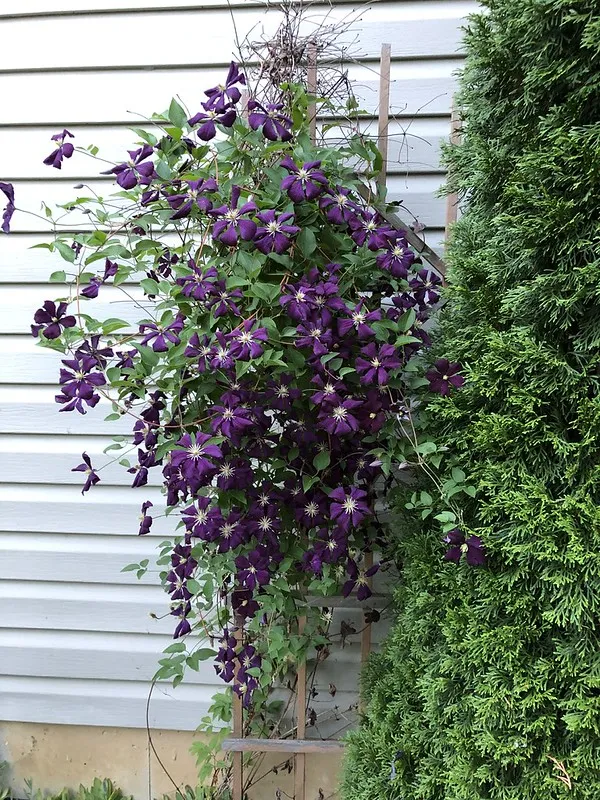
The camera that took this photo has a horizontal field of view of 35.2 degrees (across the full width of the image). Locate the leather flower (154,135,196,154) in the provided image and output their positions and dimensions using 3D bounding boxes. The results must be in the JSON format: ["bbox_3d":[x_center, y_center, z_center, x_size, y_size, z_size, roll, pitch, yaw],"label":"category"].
[{"bbox_3d":[-0.309,-0.633,2.353,0.073,0.019,0.062,0,-25,7],"label":"leather flower"}]

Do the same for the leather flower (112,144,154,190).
[{"bbox_3d":[-0.407,-0.582,2.360,0.101,0.147,0.092,-4,-18,5],"label":"leather flower"}]

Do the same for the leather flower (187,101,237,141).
[{"bbox_3d":[-0.202,-0.669,2.317,0.121,0.090,0.054,-20,-19,15],"label":"leather flower"}]

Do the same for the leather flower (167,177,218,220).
[{"bbox_3d":[-0.252,-0.476,2.315,0.135,0.110,0.044,-19,-31,13],"label":"leather flower"}]
